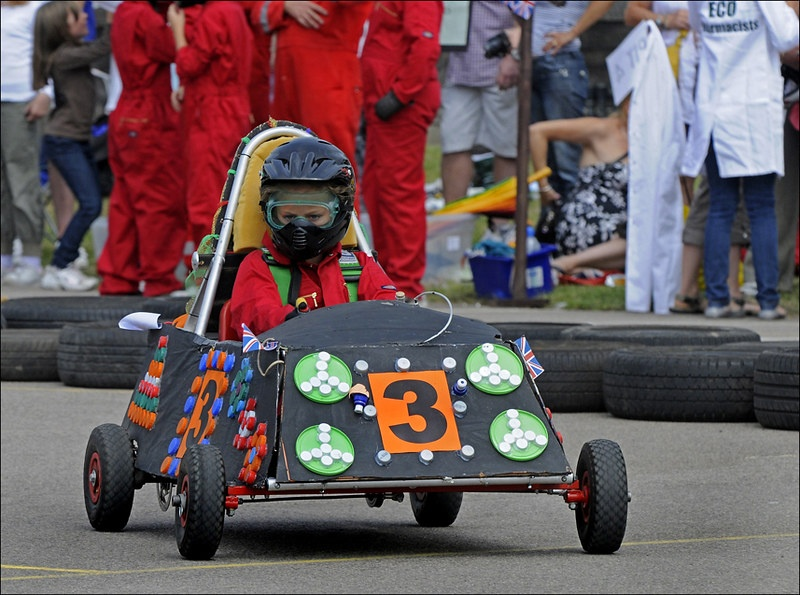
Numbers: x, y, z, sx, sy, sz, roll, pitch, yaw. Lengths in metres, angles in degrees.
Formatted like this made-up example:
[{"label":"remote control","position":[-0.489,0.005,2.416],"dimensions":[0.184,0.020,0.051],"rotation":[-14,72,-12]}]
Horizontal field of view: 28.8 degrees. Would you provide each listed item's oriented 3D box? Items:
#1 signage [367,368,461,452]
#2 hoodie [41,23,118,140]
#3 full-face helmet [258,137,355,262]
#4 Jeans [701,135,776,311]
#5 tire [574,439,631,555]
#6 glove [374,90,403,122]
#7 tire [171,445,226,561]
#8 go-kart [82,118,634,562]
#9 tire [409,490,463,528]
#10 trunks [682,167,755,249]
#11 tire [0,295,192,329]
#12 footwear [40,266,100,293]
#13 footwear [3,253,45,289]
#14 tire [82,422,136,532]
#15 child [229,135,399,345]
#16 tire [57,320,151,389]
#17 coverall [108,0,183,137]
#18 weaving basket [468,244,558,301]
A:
[{"label":"signage","position":[0.045,0.473,6.320],"dimensions":[0.362,0.410,0.017],"rotation":[2,-38,-23]},{"label":"hoodie","position":[-2.826,-1.969,13.759],"dimensions":[0.643,1.060,0.559],"rotation":[4,26,17]},{"label":"full-face helmet","position":[-0.438,-0.441,7.135],"dimensions":[0.416,0.572,0.570],"rotation":[1,-1,-1]},{"label":"Jeans","position":[2.378,-0.497,10.874],"dimensions":[0.491,1.469,0.348],"rotation":[0,-26,9]},{"label":"tire","position":[0.822,0.836,6.383],"dimensions":[0.248,0.487,0.400],"rotation":[0,5,-3]},{"label":"glove","position":[-0.080,-1.310,10.711],"dimensions":[0.211,0.207,0.099],"rotation":[0,11,-1]},{"label":"tire","position":[-0.810,0.840,6.283],"dimensions":[0.220,0.466,0.180],"rotation":[0,11,-1]},{"label":"go-kart","position":[-0.339,0.176,7.088],"dimensions":[1.671,1.704,2.154],"rotation":[3,-10,-21]},{"label":"tire","position":[0.158,0.941,6.926],"dimensions":[0.108,0.244,0.225],"rotation":[-4,6,-34]},{"label":"trunks","position":[2.353,-0.575,11.109],"dimensions":[0.472,0.269,0.645],"rotation":[-12,-21,-11]},{"label":"tire","position":[-2.216,0.092,10.875],"dimensions":[0.646,0.171,0.684],"rotation":[-1,1,0]},{"label":"footwear","position":[-3.004,-0.151,14.076],"dimensions":[0.552,0.295,0.214],"rotation":[2,5,-7]},{"label":"footwear","position":[-3.514,-0.239,14.424],"dimensions":[0.202,0.242,0.355],"rotation":[-1,-5,8]},{"label":"tire","position":[-1.309,0.802,6.927],"dimensions":[0.149,0.466,0.435],"rotation":[2,-5,-24]},{"label":"child","position":[-0.392,-0.177,7.046],"dimensions":[0.771,1.028,0.766],"rotation":[3,7,32]},{"label":"tire","position":[-1.796,0.414,9.938],"dimensions":[0.720,0.406,0.782],"rotation":[3,-7,4]},{"label":"coverall","position":[-1.927,-1.687,11.509],"dimensions":[0.302,0.911,0.632],"rotation":[15,15,38]},{"label":"weaving basket","position":[0.860,-0.198,12.204],"dimensions":[0.544,0.292,0.407],"rotation":[-2,1,-25]}]
